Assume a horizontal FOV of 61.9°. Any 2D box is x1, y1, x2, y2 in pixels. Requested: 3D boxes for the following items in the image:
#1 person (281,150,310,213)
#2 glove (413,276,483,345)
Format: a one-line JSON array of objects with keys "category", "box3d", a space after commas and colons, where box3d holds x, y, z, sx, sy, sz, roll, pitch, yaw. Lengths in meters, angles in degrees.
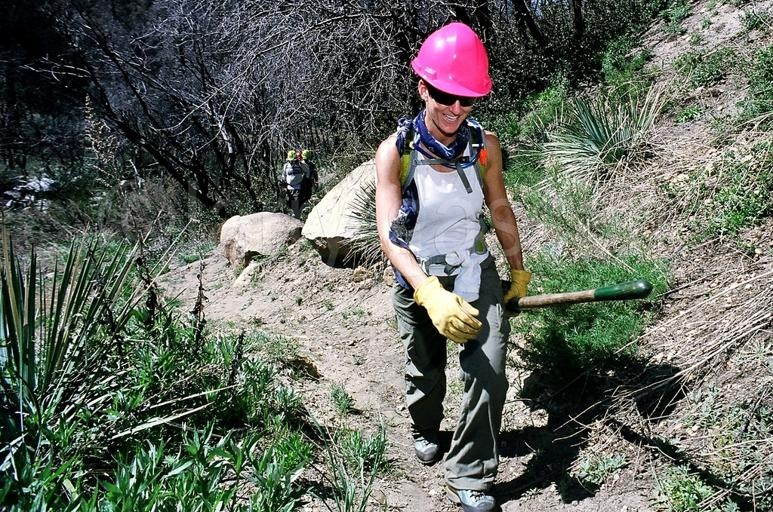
[{"category": "person", "box3d": [-1.993, -1.654, 14.631, 0.567, 1.061, 1.047, -24, 13, -30]}, {"category": "glove", "box3d": [0.467, 0.401, 4.826, 0.366, 0.527, 0.244, -53, -20, 8]}]
